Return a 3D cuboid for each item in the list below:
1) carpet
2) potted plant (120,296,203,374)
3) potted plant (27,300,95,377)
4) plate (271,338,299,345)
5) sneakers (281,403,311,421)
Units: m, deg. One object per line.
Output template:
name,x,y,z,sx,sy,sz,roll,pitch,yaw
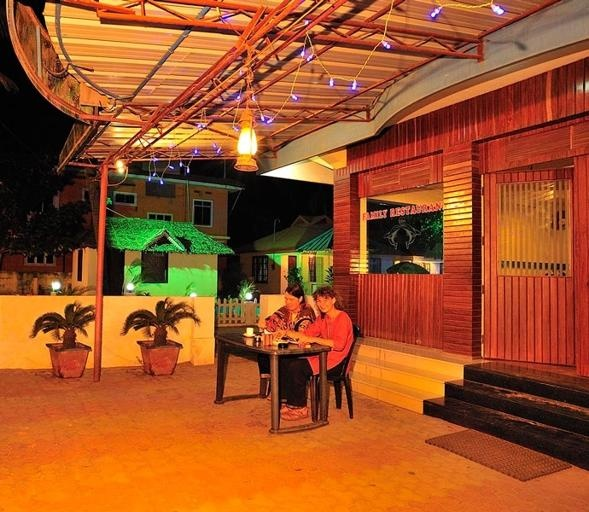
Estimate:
carpet,2.276,2.209,5.735,0.873,0.039,1.307,1,0,-34
potted plant,-2.540,1.583,9.795,1.530,1.361,1.509,2,-6,-29
potted plant,-4.161,1.492,9.245,0.933,1.197,1.048,1,0,-43
plate,-0.109,1.105,6.541,0.346,0.082,0.355,1,0,-1
sneakers,0.012,2.108,6.914,0.424,0.171,0.183,2,-8,7
